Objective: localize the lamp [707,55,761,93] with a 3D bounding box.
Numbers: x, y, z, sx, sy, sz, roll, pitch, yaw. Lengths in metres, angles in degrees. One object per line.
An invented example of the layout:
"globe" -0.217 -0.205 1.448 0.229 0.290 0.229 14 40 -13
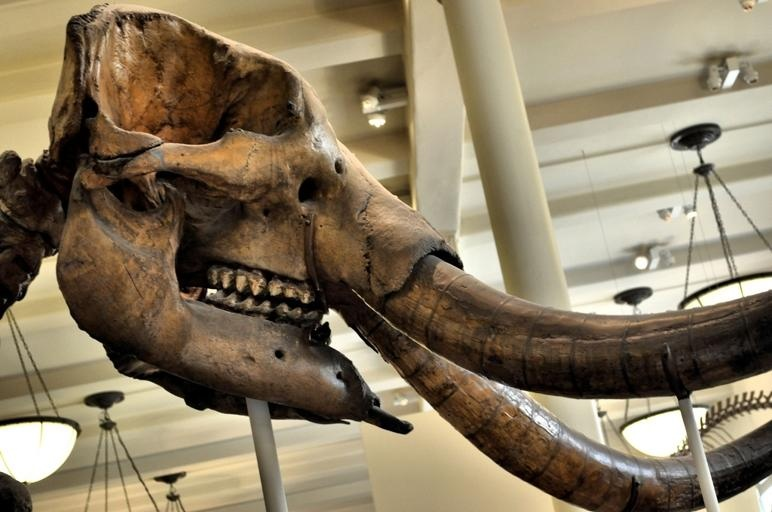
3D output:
"lamp" 3.043 -1.708 8.021 0.479 0.334 0.259 -14 25 -41

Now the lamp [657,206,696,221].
"lamp" 3.152 -0.486 9.933 0.255 0.092 0.247 -13 6 -32

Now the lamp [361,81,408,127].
"lamp" -0.006 -1.367 7.961 0.401 0.356 0.330 -9 -13 2
